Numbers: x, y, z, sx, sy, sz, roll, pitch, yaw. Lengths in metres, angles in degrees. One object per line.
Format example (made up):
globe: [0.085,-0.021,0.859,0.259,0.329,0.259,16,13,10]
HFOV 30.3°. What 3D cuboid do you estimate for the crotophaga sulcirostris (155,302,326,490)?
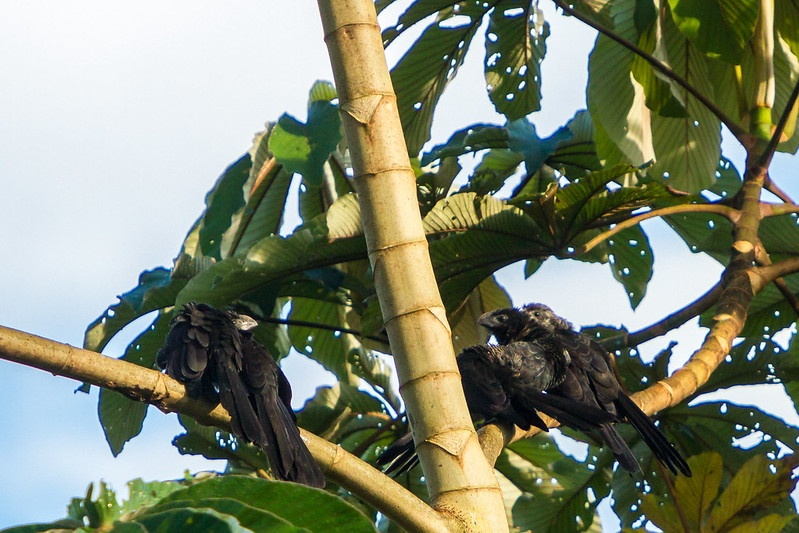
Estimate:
crotophaga sulcirostris: [-1.269,0.963,11.092,0.770,1.687,0.718,-28,-52,-28]
